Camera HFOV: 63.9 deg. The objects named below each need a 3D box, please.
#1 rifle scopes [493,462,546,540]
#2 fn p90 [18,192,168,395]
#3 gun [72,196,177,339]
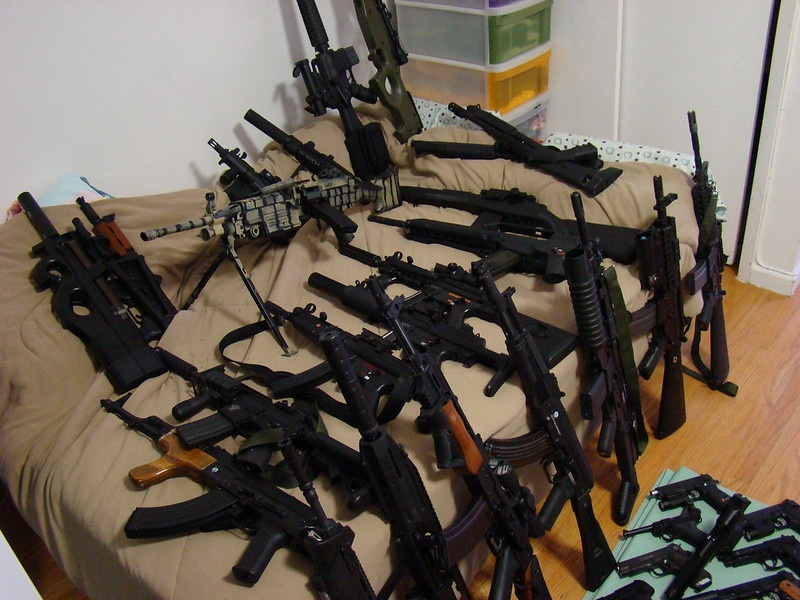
[{"bbox_3d":[0.632,1.108,3.341,0.112,0.234,0.513,-18,-11,34],"label":"rifle scopes"},{"bbox_3d":[-2.046,-0.134,4.280,1.676,0.191,0.691,38,86,25],"label":"fn p90"},{"bbox_3d":[-1.874,-0.208,4.290,0.156,0.924,0.405,-27,10,49],"label":"gun"}]
